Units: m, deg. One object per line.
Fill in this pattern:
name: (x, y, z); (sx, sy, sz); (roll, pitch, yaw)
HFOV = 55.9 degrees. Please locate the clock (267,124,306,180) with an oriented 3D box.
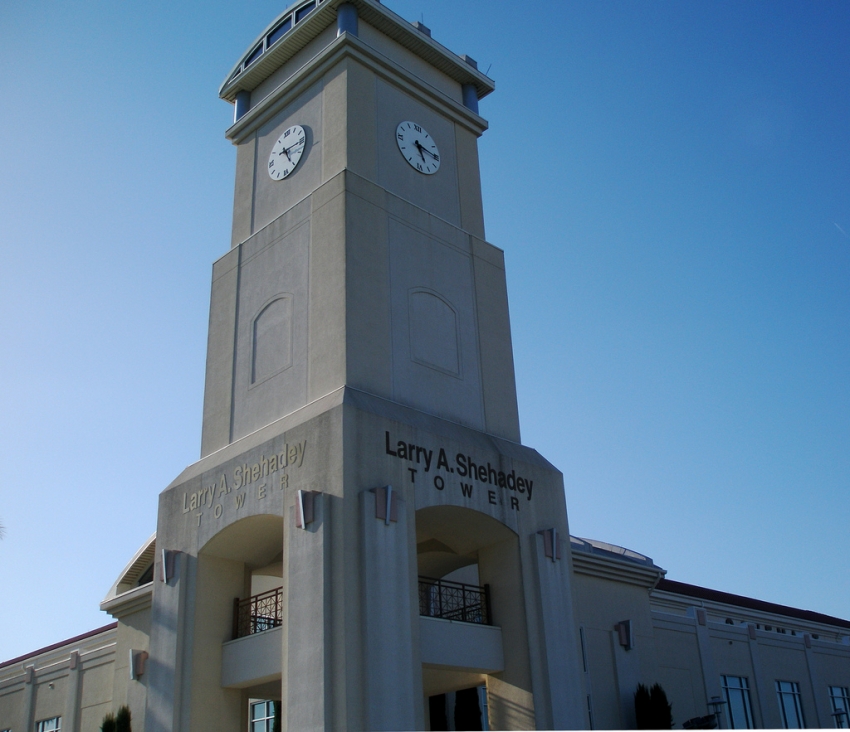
clock: (-4.851, -7.496, 28.391); (0.148, 2.486, 2.169); (14, -9, -32)
